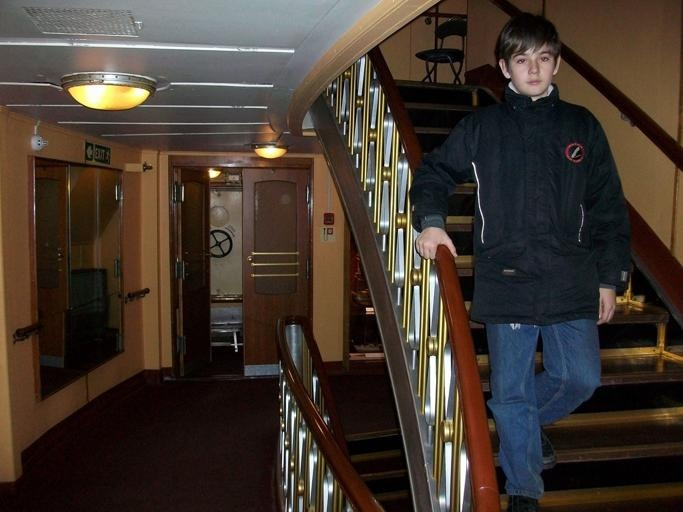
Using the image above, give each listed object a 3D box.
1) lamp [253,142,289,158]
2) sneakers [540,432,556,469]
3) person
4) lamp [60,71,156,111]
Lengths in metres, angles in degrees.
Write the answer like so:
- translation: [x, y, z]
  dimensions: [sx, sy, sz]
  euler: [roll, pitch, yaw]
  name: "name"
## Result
- translation: [-0.794, -1.179, 6.534]
  dimensions: [0.320, 0.142, 0.282]
  euler: [-3, 9, -28]
  name: "lamp"
- translation: [0.943, 0.912, 2.766]
  dimensions: [0.067, 0.083, 0.208]
  euler: [-5, 3, 11]
  name: "sneakers"
- translation: [0.782, 0.032, 2.602]
  dimensions: [0.930, 2.171, 0.469]
  euler: [3, 7, 18]
  name: "person"
- translation: [-1.532, -1.082, 3.867]
  dimensions: [0.647, 0.206, 0.326]
  euler: [2, 8, 9]
  name: "lamp"
